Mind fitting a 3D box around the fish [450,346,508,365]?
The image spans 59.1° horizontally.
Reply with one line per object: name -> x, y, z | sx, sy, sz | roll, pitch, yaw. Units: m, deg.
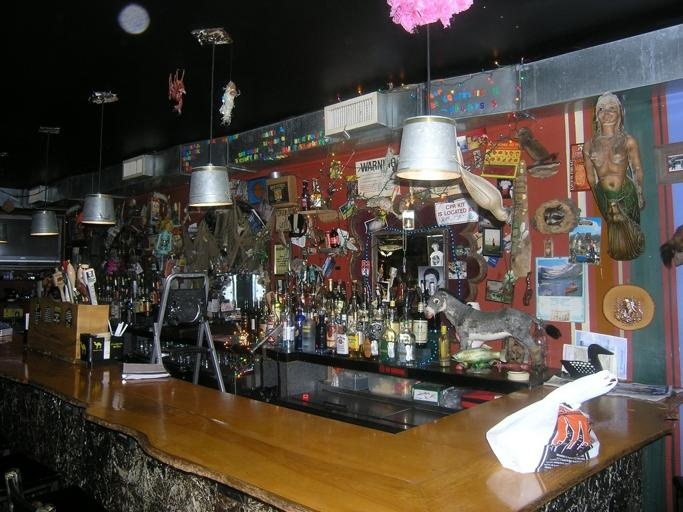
fish -> 0.957, 0.714, 4.248 | 0.381, 0.175, 0.142 | -3, -12, 6

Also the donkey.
donkey -> 1.068, 0.510, 4.368 | 0.335, 0.432, 0.970 | -9, 13, -43
